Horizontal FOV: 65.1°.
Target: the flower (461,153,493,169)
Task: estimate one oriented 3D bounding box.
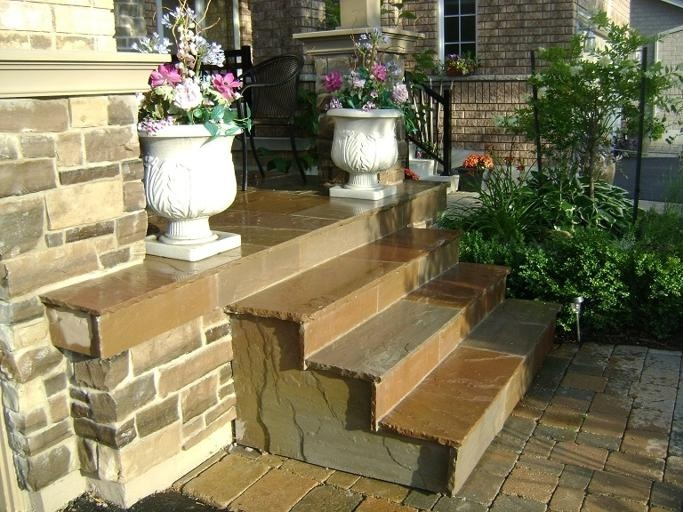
[{"bbox_3d":[1.852,-1.289,7.350,0.422,0.247,0.398,2,15,29],"label":"flower"}]

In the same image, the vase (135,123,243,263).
[{"bbox_3d":[-0.754,-0.309,2.660,0.554,0.549,0.517,-5,10,-33],"label":"vase"}]

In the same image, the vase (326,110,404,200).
[{"bbox_3d":[0.172,-0.748,3.972,0.528,0.584,0.593,7,13,29],"label":"vase"}]

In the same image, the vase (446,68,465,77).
[{"bbox_3d":[2.091,-3.358,9.802,0.234,0.083,0.147,3,11,7],"label":"vase"}]

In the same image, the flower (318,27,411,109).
[{"bbox_3d":[0.192,-1.314,3.983,0.542,0.552,0.458,-7,3,5],"label":"flower"}]

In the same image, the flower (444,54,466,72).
[{"bbox_3d":[2.087,-3.523,9.831,0.420,0.261,0.336,3,36,6],"label":"flower"}]
